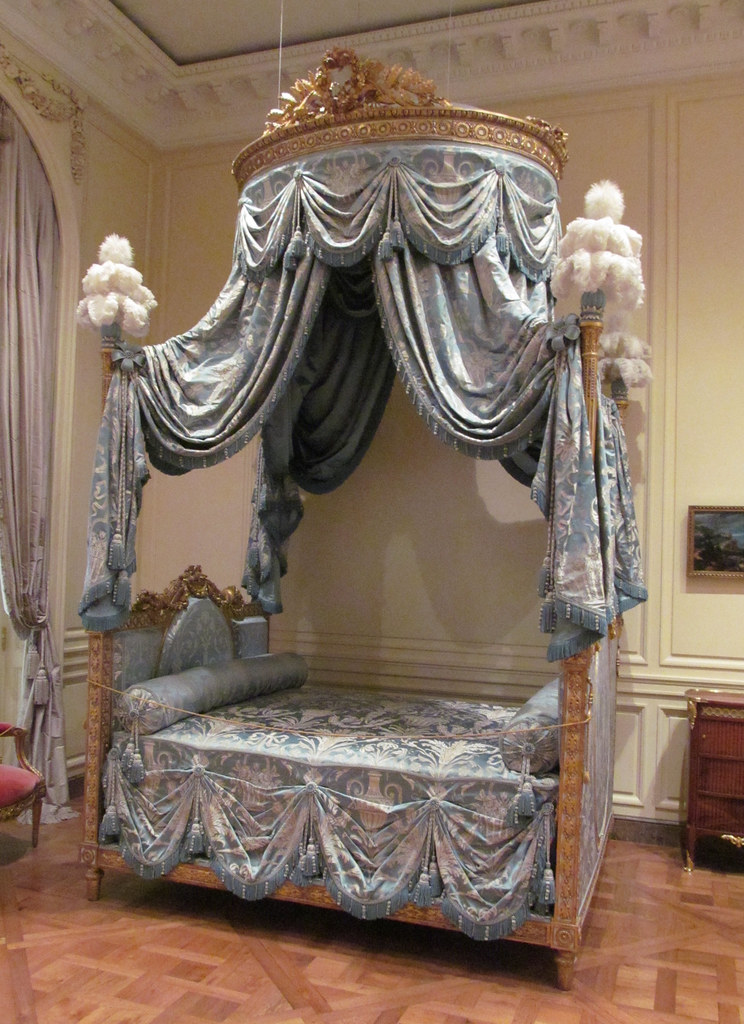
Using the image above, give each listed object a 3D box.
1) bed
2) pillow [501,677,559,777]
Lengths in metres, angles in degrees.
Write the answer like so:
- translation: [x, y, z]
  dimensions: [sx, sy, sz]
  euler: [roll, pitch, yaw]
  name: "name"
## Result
- translation: [0.062, -0.025, 4.101]
  dimensions: [1.950, 2.766, 1.822]
  euler: [3, 0, 17]
  name: "bed"
- translation: [0.505, 0.709, 3.340]
  dimensions: [0.179, 0.160, 0.402]
  euler: [2, 1, 8]
  name: "pillow"
